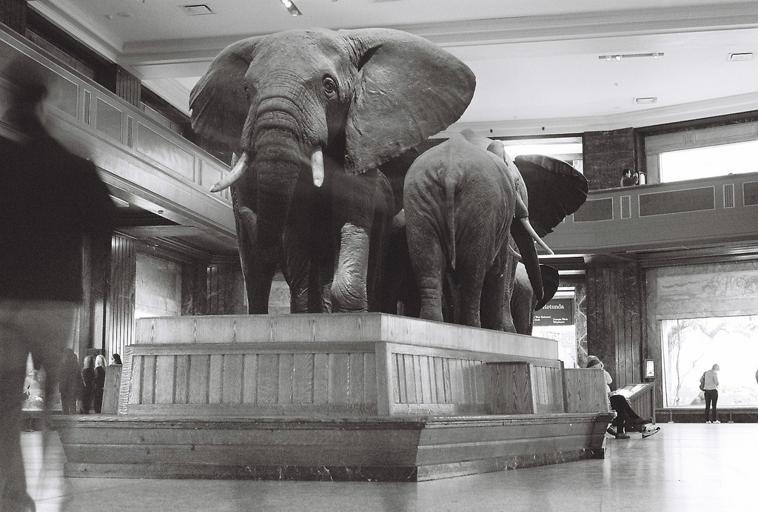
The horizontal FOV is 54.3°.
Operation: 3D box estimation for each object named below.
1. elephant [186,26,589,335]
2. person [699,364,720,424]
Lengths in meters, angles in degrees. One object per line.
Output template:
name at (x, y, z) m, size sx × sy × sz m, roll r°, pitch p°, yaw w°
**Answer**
elephant at (-0.081, -0.374, 5.161) m, size 1.575 × 1.530 × 2.515 m, roll -9°, pitch -17°, yaw 40°
person at (8.177, 3.378, 18.281) m, size 0.447 × 1.416 × 1.394 m, roll -5°, pitch -10°, yaw 24°
